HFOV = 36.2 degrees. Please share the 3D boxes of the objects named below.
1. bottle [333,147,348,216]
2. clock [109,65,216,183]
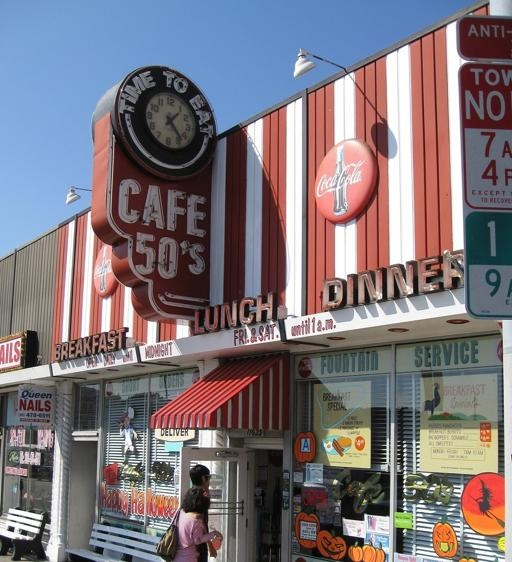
[{"bbox_3d":[1.027,-1.208,9.429,0.056,0.872,0.237,5,-13,-29],"label":"bottle"},{"bbox_3d":[-1.247,-2.249,11.166,1.448,1.889,0.181,11,-31,-22],"label":"clock"}]
